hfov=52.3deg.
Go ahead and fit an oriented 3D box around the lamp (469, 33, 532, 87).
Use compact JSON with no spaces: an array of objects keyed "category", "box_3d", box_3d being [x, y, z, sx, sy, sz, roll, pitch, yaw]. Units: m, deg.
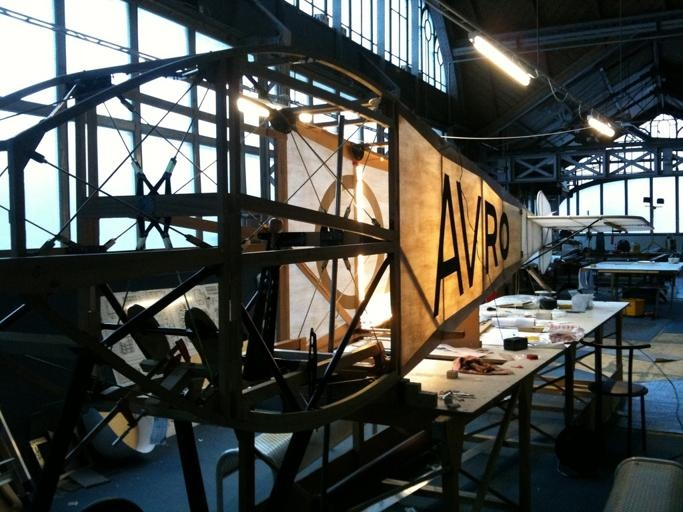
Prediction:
[{"category":"lamp","box_3d":[2.681,-3.275,11.526,0.298,0.430,1.797,6,-8,43]}]
